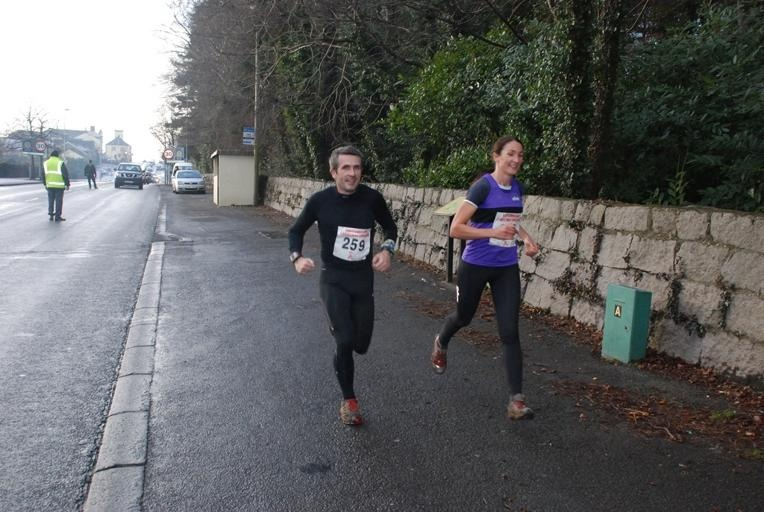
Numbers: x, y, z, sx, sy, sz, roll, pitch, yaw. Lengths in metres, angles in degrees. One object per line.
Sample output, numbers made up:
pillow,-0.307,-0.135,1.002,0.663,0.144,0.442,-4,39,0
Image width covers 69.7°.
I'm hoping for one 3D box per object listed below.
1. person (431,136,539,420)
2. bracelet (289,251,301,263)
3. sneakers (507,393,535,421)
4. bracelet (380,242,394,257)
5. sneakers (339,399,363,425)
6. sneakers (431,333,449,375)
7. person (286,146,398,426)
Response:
person,0.956,0.140,5.047,0.922,2.439,0.944,2,11,10
bracelet,-0.784,0.004,4.929,0.110,0.075,0.109,-18,2,31
sneakers,1.155,1.303,4.747,0.115,0.182,0.346,0,-8,-16
bracelet,0.044,-0.062,5.013,0.101,0.113,0.118,9,20,16
sneakers,-0.265,1.343,4.771,0.199,0.190,0.144,0,11,-1
sneakers,0.577,0.995,5.569,0.138,0.429,0.177,-3,0,-1
person,-0.362,0.216,4.883,0.952,2.348,0.765,0,11,1
